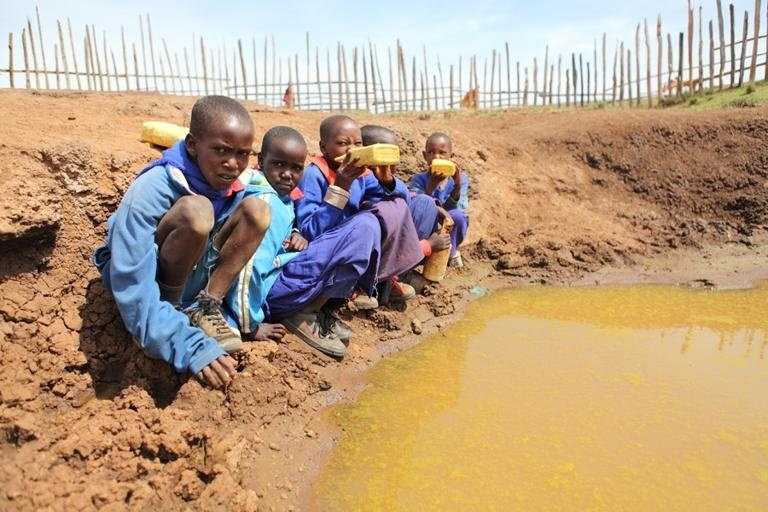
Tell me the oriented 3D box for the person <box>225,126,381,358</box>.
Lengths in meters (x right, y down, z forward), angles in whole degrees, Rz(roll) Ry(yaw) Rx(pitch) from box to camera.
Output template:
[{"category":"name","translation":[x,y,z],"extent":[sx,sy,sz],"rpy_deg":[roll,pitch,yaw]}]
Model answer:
[{"category":"person","translation":[-0.620,-0.100,4.374],"extent":[1.153,1.521,1.217],"rpy_deg":[16,18,3]}]

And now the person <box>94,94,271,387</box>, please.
[{"category":"person","translation":[-1.236,-0.091,3.928],"extent":[0.671,1.829,0.962],"rpy_deg":[8,19,35]}]
